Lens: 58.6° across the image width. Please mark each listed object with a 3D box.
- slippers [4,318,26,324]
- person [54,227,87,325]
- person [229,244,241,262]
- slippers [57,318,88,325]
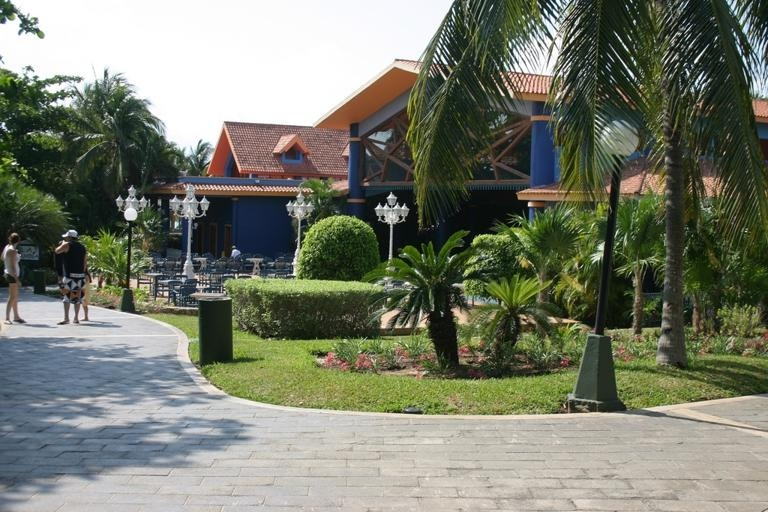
[{"bbox_3d":[-7.974,1.414,14.740,0.455,0.152,0.170,-1,-3,18],"label":"slippers"},{"bbox_3d":[-6.866,0.448,14.979,0.588,2.046,1.260,3,-3,-23],"label":"person"},{"bbox_3d":[-6.453,-0.158,29.546,0.423,0.649,0.716,6,-38,-8],"label":"person"},{"bbox_3d":[-6.732,1.426,14.797,0.182,0.149,0.536,-5,-11,30],"label":"slippers"}]
